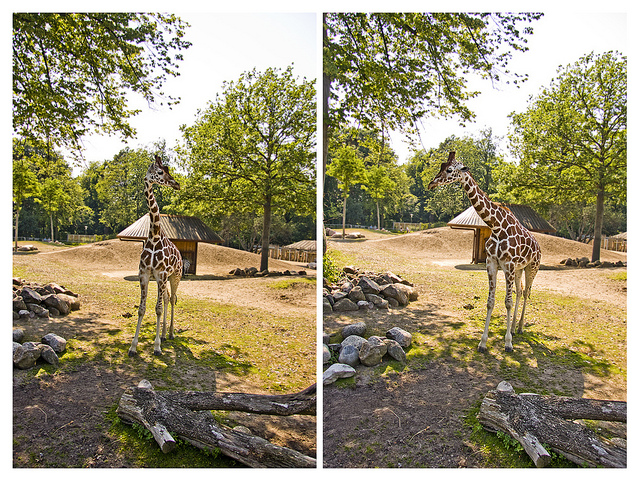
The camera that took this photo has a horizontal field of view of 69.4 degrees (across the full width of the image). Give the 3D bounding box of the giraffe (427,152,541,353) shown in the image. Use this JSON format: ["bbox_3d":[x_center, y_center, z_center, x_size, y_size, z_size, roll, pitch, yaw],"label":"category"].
[{"bbox_3d":[3.661,0.148,9.494,1.574,3.437,4.362,4,2,26],"label":"giraffe"}]

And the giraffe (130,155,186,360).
[{"bbox_3d":[-3.094,0.224,8.854,0.881,3.646,2.175,2,2,-19],"label":"giraffe"}]
